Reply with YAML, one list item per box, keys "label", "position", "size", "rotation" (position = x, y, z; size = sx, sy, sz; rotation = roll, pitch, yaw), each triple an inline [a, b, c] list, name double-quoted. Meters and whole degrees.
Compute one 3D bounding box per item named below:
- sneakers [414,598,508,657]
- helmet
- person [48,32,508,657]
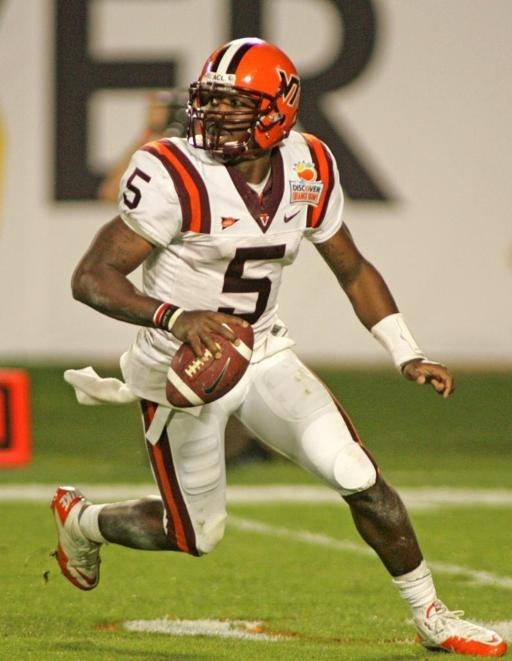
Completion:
- label: "sneakers"
  position: [0.481, 0.709, 2.079]
  size: [0.208, 0.116, 0.110]
  rotation: [24, 36, 25]
- label: "helmet"
  position: [-0.032, -0.550, 2.125]
  size: [0.265, 0.254, 0.308]
  rotation: [7, 32, -2]
- label: "person"
  position: [0.093, 0.046, 2.254]
  size: [1.108, 1.410, 0.803]
  rotation: [17, 36, 11]
